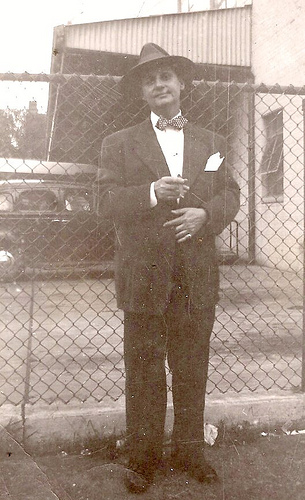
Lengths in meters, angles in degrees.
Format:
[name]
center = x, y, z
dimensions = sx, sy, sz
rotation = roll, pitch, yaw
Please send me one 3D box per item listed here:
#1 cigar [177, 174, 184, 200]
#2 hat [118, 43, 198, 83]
[cigar]
center = 0.117, -0.269, 2.653
dimensions = 0.027, 0.078, 0.056
rotation = 4, -3, -16
[hat]
center = 0.009, -0.830, 2.732
dimensions = 0.224, 0.091, 0.238
rotation = -16, -7, 4
